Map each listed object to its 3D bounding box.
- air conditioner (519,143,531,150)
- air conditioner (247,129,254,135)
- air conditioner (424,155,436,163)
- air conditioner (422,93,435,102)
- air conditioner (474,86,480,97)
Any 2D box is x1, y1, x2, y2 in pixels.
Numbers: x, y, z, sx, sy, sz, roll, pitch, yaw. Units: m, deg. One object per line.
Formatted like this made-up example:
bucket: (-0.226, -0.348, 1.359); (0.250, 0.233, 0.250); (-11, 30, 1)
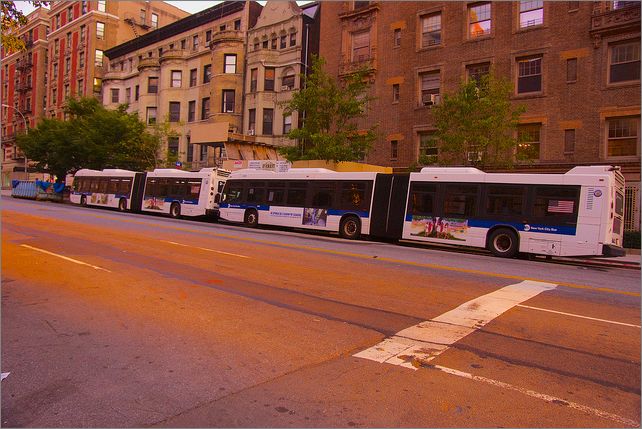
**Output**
air conditioner: (11.649, -3.909, 26.705); (0.615, 0.371, 0.196); (2, 12, 2)
air conditioner: (-6.040, -7.300, 40.718); (0.681, 0.474, 0.376); (3, 5, 19)
air conditioner: (6.040, -2.997, 25.685); (0.695, 0.488, 0.882); (6, 12, 20)
air conditioner: (6.958, -7.544, 30.216); (0.527, 0.581, 1.012); (-2, 12, -16)
air conditioner: (7.986, -6.272, 23.914); (0.279, 0.522, 0.899); (5, 12, 17)
